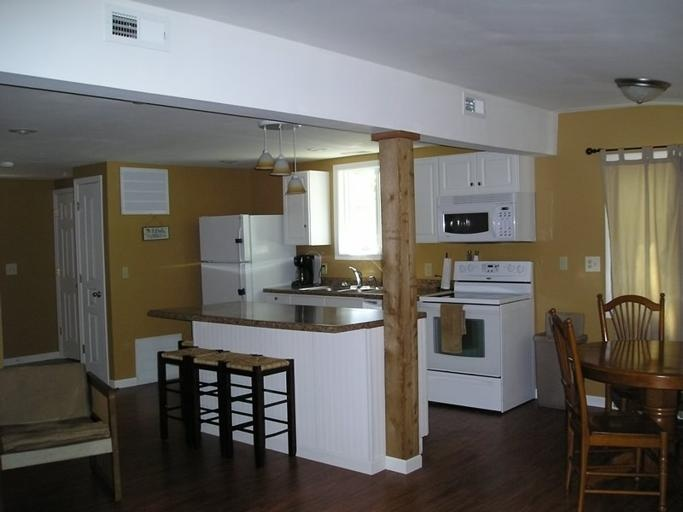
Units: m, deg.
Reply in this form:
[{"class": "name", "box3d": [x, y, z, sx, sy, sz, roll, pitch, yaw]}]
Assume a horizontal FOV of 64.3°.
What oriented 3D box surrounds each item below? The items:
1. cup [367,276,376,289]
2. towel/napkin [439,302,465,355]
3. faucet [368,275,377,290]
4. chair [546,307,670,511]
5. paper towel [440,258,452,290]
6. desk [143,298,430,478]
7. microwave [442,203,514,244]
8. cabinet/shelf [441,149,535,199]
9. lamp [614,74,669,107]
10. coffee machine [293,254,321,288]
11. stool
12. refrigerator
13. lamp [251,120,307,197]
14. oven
[{"class": "cup", "box3d": [0.383, 0.326, 6.828, 0.086, 0.151, 0.146, 0, 0, 32]}, {"class": "towel/napkin", "box3d": [1.094, 0.719, 5.397, 0.278, 0.474, 0.070, 0, 5, 31]}, {"class": "faucet", "box3d": [0.386, 0.326, 6.827, 0.092, 0.162, 0.150, 0, 0, 44]}, {"class": "chair", "box3d": [1.848, 0.993, 3.731, 0.767, 1.277, 1.039, -1, 3, 22]}, {"class": "paper towel", "box3d": [1.202, 0.199, 6.248, 0.102, 0.374, 0.152, 0, 3, 32]}, {"class": "desk", "box3d": [-0.280, 1.040, 4.553, 1.932, 1.174, 0.590, 0, 3, 30]}, {"class": "microwave", "box3d": [1.425, -0.358, 5.753, 0.785, 0.391, 0.134, 1, 4, 42]}, {"class": "cabinet/shelf", "box3d": [1.439, -0.881, 5.950, 0.854, 0.436, 0.344, -3, -1, -1]}, {"class": "lamp", "box3d": [1.969, -1.103, 3.587, 0.246, 0.106, 0.249, 1, 5, -9]}, {"class": "coffee machine", "box3d": [-0.569, 0.196, 7.400, 0.241, 0.403, 0.407, 8, 9, 5]}, {"class": "stool", "box3d": [-0.906, 1.286, 4.489, 0.934, 0.567, 0.310, 0, 1, 42]}, {"class": "refrigerator", "box3d": [-1.215, 0.031, 7.105, 1.205, 1.103, 0.494, -2, 3, -12]}, {"class": "lamp", "box3d": [-0.621, -0.937, 4.716, 0.346, 0.415, 0.276, -3, 8, -41]}, {"class": "oven", "box3d": [1.270, 0.851, 5.620, 0.862, 0.840, 0.724, 0, 0, 19]}]
